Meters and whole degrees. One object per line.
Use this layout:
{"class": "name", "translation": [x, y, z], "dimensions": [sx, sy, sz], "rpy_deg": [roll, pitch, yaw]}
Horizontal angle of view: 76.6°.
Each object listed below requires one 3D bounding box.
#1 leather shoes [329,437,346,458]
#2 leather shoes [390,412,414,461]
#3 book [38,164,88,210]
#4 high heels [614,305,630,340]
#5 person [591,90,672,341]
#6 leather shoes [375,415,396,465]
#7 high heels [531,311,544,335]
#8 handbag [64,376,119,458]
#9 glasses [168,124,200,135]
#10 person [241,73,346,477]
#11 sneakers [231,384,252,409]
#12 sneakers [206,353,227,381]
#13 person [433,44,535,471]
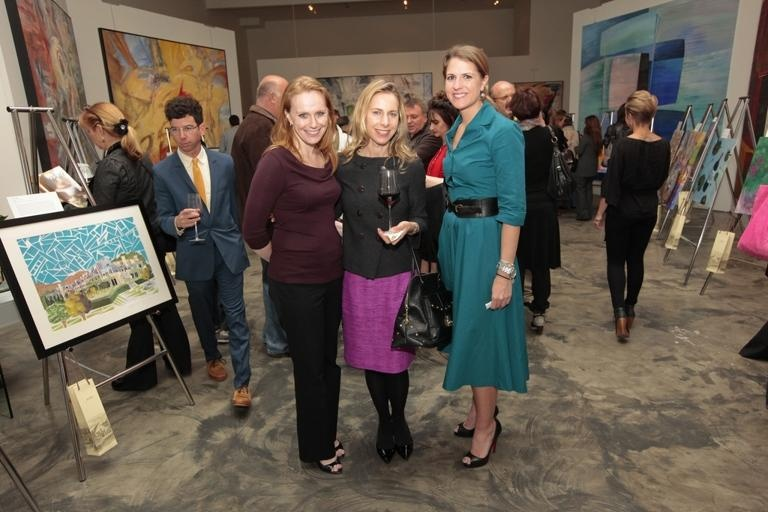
{"class": "leather shoes", "translation": [-0.310, 1.332, 3.378], "dimensions": [0.060, 0.041, 0.163], "rpy_deg": [4, 30, -11]}
{"class": "leather shoes", "translation": [0.133, 1.245, 3.365], "dimensions": [0.119, 0.325, 0.129], "rpy_deg": [-14, -13, 2]}
{"class": "book", "translation": [-2.675, -0.564, 4.034], "dimensions": [0.303, 0.310, 0.229], "rpy_deg": [-15, 23, -33]}
{"class": "high heels", "translation": [2.230, 0.620, 4.584], "dimensions": [0.108, 0.341, 0.144], "rpy_deg": [-3, -9, 31]}
{"class": "person", "translation": [2.288, -0.376, 4.562], "dimensions": [0.544, 2.197, 0.835], "rpy_deg": [9, 22, 29]}
{"class": "leather shoes", "translation": [0.015, 1.259, 3.363], "dimensions": [0.115, 0.312, 0.132], "rpy_deg": [-6, -12, 6]}
{"class": "high heels", "translation": [1.516, 0.656, 4.749], "dimensions": [0.092, 0.114, 0.249], "rpy_deg": [-2, 12, 4]}
{"class": "handbag", "translation": [-1.986, 1.085, 3.301], "dimensions": [0.182, 0.495, 0.229], "rpy_deg": [-16, 24, -36]}
{"class": "glasses", "translation": [-1.558, -0.971, 3.758], "dimensions": [0.227, 0.066, 0.080], "rpy_deg": [-2, 19, 0]}
{"class": "person", "translation": [-0.481, 0.120, 3.135], "dimensions": [0.531, 2.380, 0.607], "rpy_deg": [15, 25, 41]}
{"class": "sneakers", "translation": [-1.143, 1.121, 3.881], "dimensions": [0.117, 0.110, 0.298], "rpy_deg": [3, -15, -13]}
{"class": "sneakers", "translation": [-1.465, 0.991, 4.263], "dimensions": [0.110, 0.103, 0.258], "rpy_deg": [-4, 6, -32]}
{"class": "person", "translation": [0.638, -0.198, 3.038], "dimensions": [0.580, 2.086, 0.623], "rpy_deg": [0, 19, 6]}
